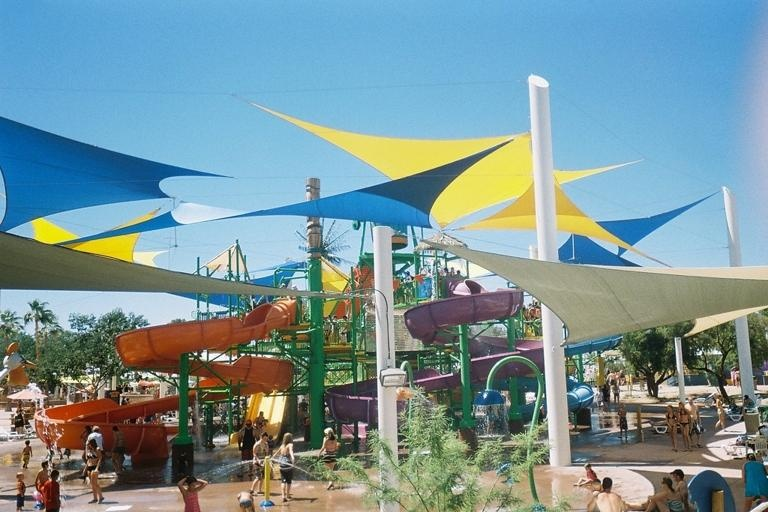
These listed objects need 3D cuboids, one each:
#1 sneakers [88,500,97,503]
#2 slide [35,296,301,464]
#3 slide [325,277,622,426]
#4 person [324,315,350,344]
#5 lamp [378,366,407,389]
[{"bbox_3d":[-8.211,6.904,27.690,0.284,0.107,0.090,-3,-13,43],"label":"sneakers"},{"bbox_3d":[-6.638,4.212,34.939,9.922,6.123,7.671,3,-11,-20],"label":"slide"},{"bbox_3d":[2.705,3.027,35.492,9.414,4.349,5.909,-1,-9,-1],"label":"slide"},{"bbox_3d":[-1.636,2.652,35.327,0.890,0.855,0.880,-2,-5,15],"label":"person"},{"bbox_3d":[0.266,3.081,25.505,0.895,0.652,0.475,-1,11,-16],"label":"lamp"}]
